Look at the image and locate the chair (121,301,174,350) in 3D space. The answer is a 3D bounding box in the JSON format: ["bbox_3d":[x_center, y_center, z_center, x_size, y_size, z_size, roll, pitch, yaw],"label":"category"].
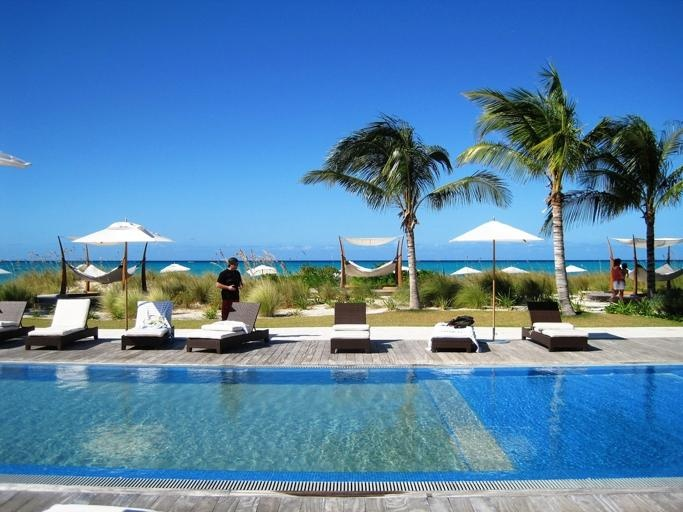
[{"bbox_3d":[-4.326,1.545,11.073,0.933,0.963,1.599,0,-2,-7],"label":"chair"}]

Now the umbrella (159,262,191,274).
[{"bbox_3d":[-9.874,0.745,29.069,1.294,0.638,1.256,-1,-6,2],"label":"umbrella"}]

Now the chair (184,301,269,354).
[{"bbox_3d":[-2.504,1.543,10.949,1.054,0.890,1.689,-1,0,24],"label":"chair"}]

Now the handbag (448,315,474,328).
[{"bbox_3d":[2.598,1.425,10.732,0.423,0.157,0.306,-1,0,17],"label":"handbag"}]

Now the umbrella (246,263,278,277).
[{"bbox_3d":[-3.358,0.637,21.132,1.250,0.432,1.127,-1,8,-11],"label":"umbrella"}]

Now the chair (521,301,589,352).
[{"bbox_3d":[4.698,1.515,10.887,0.878,0.762,1.451,-1,3,0],"label":"chair"}]

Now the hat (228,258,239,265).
[{"bbox_3d":[-2.481,0.115,11.348,0.170,0.143,0.149,-8,-5,30],"label":"hat"}]

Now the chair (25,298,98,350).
[{"bbox_3d":[-6.295,1.505,11.114,0.870,0.829,1.443,1,3,-2],"label":"chair"}]

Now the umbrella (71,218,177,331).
[{"bbox_3d":[-5.296,0.557,12.137,2.497,2.654,2.466,-2,-1,19],"label":"umbrella"}]

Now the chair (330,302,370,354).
[{"bbox_3d":[0.188,1.499,10.559,0.887,0.828,1.485,0,2,4],"label":"chair"}]
